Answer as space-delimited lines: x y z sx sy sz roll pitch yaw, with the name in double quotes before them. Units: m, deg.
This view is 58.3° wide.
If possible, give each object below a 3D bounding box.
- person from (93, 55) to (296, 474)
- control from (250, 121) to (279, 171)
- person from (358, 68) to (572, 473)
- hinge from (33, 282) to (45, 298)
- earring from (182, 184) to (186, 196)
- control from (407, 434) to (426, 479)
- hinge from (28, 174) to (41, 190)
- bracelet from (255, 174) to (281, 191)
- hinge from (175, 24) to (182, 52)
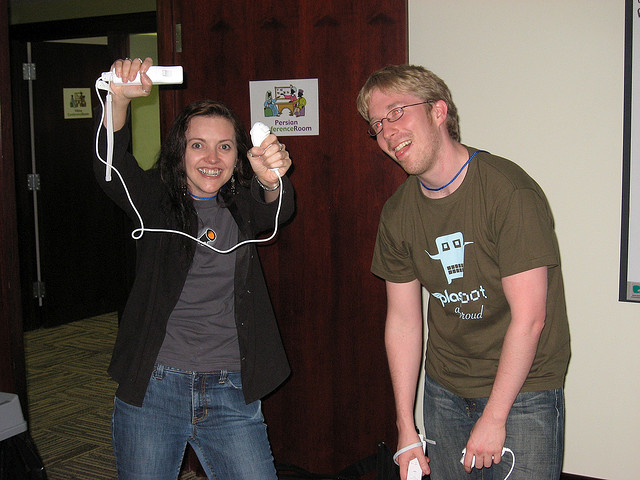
"person" -0.489 0.127 2.335 0.764 1.637 0.412 -1 7 -3
"control" -0.222 -0.394 2.215 0.064 0.098 0.038 32 11 23
"person" 0.533 0.143 2.224 0.775 1.603 0.403 5 9 36
"hinge" -2.789 0.485 5.712 0.125 0.200 0.048 -2 16 -23
"earring" -0.551 -0.207 2.332 0.007 0.027 0.018 -6 10 5
"control" 0.386 0.867 2.311 0.059 0.160 0.089 2 8 19
"hinge" -2.761 -0.566 5.560 0.111 0.137 0.034 -1 7 -13
"bracelet" -0.219 -0.235 2.370 0.119 0.062 0.046 1 8 13
"hinge" -0.773 -1.103 3.144 0.036 0.147 0.014 -1 7 1
